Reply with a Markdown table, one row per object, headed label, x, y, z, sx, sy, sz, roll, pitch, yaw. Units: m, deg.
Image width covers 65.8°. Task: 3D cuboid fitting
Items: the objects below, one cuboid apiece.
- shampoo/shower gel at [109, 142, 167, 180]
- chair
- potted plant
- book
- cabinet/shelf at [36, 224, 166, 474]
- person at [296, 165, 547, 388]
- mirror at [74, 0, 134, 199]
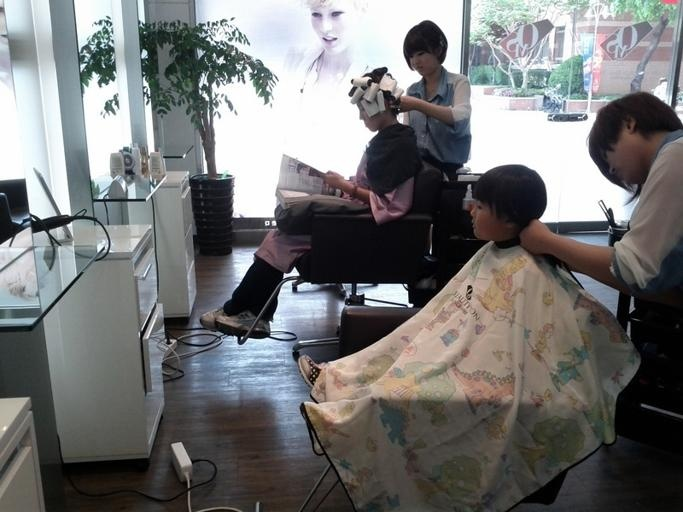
| label | x | y | z | sx | sy | sz | roll | pitch | yaw |
| --- | --- | --- | --- | --- | --- | --- | --- | --- | --- |
| shampoo/shower gel | -1.154 | -0.548 | 3.006 | 0.204 | 0.121 | 0.287 | 0 | 14 | -8 |
| chair | 0.117 | -0.052 | 3.133 | 0.758 | 0.969 | 0.798 | 0 | 5 | -3 |
| potted plant | -1.072 | -0.964 | 4.434 | 1.113 | 1.916 | 0.834 | -4 | 11 | -5 |
| book | -0.161 | -0.398 | 2.823 | 0.302 | 0.325 | 0.102 | 9 | -21 | -16 |
| cabinet/shelf | -0.990 | 0.381 | 2.260 | 0.377 | 0.914 | 0.460 | -3 | 18 | -8 |
| person | 0.310 | 0.009 | 2.204 | 0.728 | 0.935 | 0.812 | 0 | 11 | 2 |
| mirror | -1.234 | -0.891 | 2.735 | 0.155 | 0.913 | 0.874 | -6 | 19 | -17 |
